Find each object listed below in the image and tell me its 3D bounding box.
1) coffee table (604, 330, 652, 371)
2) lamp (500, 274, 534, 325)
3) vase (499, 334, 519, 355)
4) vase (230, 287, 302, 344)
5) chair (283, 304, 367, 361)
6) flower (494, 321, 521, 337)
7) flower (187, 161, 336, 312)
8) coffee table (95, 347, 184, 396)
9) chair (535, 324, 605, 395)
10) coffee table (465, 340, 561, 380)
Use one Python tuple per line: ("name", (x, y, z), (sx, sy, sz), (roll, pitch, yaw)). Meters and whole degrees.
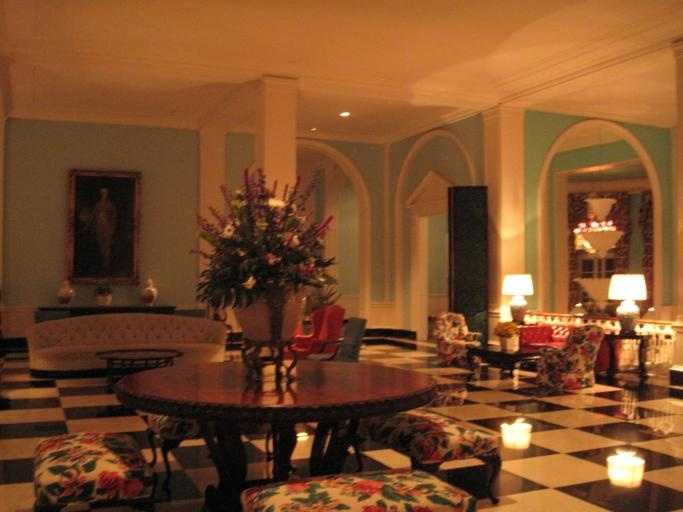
("coffee table", (4.300, 1.383, 8.963), (0.729, 0.579, 0.631), (-4, -8, 31))
("lamp", (3.047, 0.723, 10.306), (0.480, 0.866, 0.933), (1, 0, 14))
("vase", (2.501, 1.283, 8.697), (0.347, 0.204, 0.245), (1, -5, 2))
("vase", (-0.492, 0.402, 3.992), (0.395, 0.230, 0.380), (1, -5, -13))
("chair", (-0.273, 1.019, 8.063), (1.164, 1.030, 0.873), (7, -9, -29))
("flower", (2.407, 1.060, 8.673), (0.281, 0.144, 0.277), (1, 0, 34))
("flower", (-0.488, -0.110, 3.890), (0.863, 0.877, 0.344), (1, 0, -12))
("coffee table", (-2.750, 1.389, 8.013), (1.425, 0.471, 1.259), (1, -3, -12))
("chair", (3.059, 1.318, 7.977), (0.965, 0.916, 0.919), (0, 1, -19))
("coffee table", (2.496, 1.523, 8.906), (0.760, 0.421, 0.993), (2, -3, -28))
